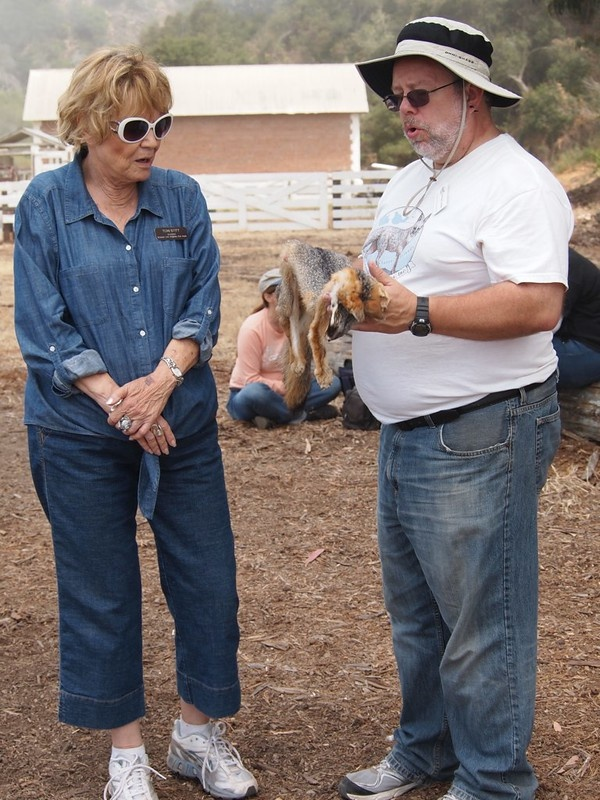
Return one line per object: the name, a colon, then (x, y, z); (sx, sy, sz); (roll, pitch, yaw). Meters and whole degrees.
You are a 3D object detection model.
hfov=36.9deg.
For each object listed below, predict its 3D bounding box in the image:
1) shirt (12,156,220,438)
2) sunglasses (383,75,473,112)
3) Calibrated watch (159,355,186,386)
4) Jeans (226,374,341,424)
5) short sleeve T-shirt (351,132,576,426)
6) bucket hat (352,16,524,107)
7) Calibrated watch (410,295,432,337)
shirt: (-0.485, -0.271, 2.420); (0.594, 0.727, 0.428); (-8, 25, -13)
sunglasses: (0.306, -0.749, 2.258); (0.133, 0.032, 0.127); (-24, 19, -29)
Calibrated watch: (-0.327, -0.079, 2.377); (0.027, 0.071, 0.069); (-42, 49, -7)
Jeans: (-0.198, 0.041, 5.843); (0.483, 0.154, 0.454); (-6, 0, 35)
short sleeve T-shirt: (0.408, -0.285, 2.299); (0.395, 0.751, 0.638); (-19, 29, -32)
bucket hat: (0.342, -0.864, 2.245); (0.443, 0.153, 0.330); (4, 9, -13)
Calibrated watch: (0.288, -0.196, 2.120); (0.065, 0.088, 0.080); (2, 47, 8)
